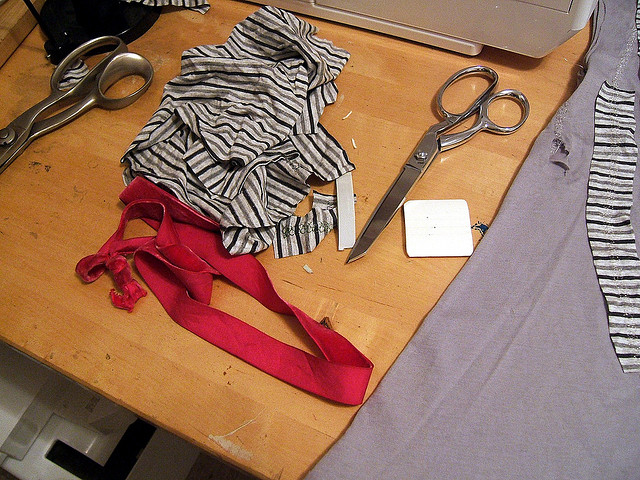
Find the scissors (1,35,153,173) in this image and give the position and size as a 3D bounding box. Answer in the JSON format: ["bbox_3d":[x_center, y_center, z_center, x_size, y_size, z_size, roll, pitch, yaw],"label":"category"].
[{"bbox_3d":[-0.380,-0.216,0.984,0.153,0.296,0.034,41,-16,13],"label":"scissors"}]

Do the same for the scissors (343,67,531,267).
[{"bbox_3d":[0.175,-0.097,0.854,0.196,0.308,0.076,23,-4,-16],"label":"scissors"}]
